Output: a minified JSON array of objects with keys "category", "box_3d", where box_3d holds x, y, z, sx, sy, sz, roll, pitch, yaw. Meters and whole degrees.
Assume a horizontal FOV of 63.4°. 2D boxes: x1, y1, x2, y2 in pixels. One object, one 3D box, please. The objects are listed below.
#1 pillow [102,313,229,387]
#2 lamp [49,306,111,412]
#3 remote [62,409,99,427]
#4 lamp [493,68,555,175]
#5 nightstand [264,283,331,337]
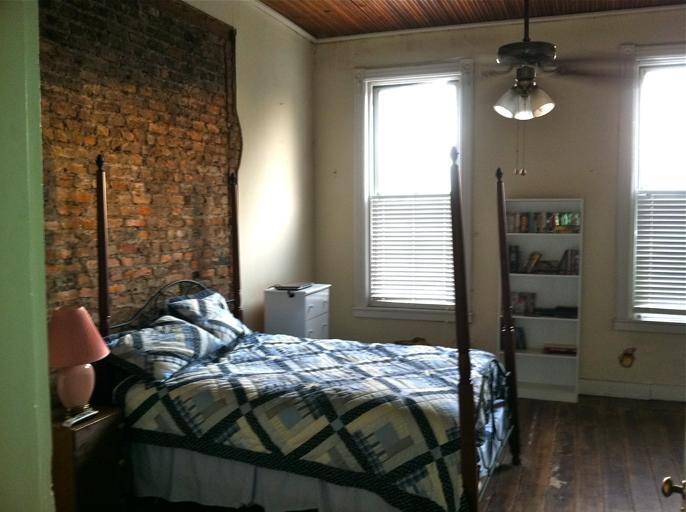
[{"category":"pillow","box_3d":[-1.125,0.573,3.517,0.409,0.104,0.390,21,15,25]},{"category":"lamp","box_3d":[-1.455,0.546,3.033,0.281,0.548,0.221,-4,9,-23]},{"category":"remote","box_3d":[-1.421,0.851,2.960,0.084,0.033,0.147,1,5,14]},{"category":"lamp","box_3d":[1.260,-0.915,3.891,0.451,0.742,0.440,-2,7,-33]},{"category":"nightstand","box_3d":[-0.429,0.585,5.224,0.432,0.572,0.631,1,3,19]}]
